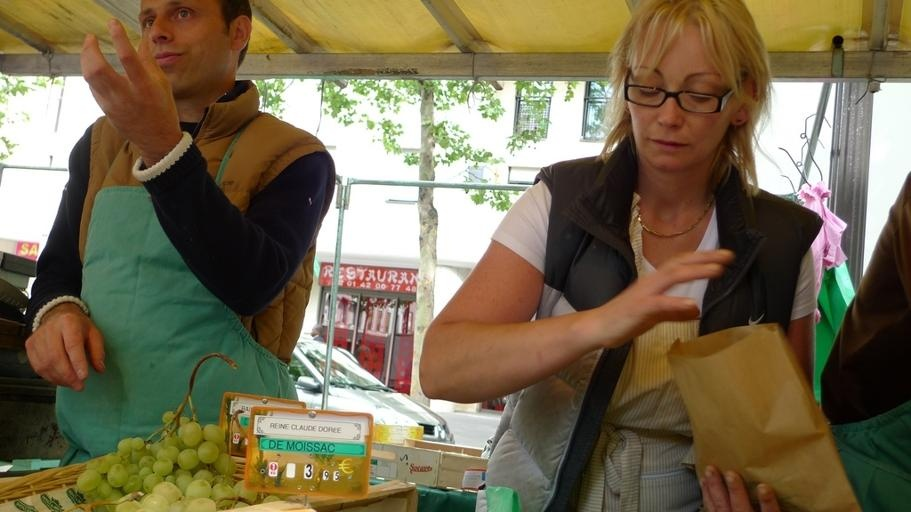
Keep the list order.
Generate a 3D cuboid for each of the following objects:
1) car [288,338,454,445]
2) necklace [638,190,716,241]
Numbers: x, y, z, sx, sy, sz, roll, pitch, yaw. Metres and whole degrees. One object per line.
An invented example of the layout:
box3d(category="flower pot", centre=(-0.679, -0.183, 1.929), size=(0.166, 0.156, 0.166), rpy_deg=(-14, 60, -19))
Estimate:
box3d(category="car", centre=(-1.223, 1.714, 7.784), size=(2.621, 0.879, 1.201), rpy_deg=(-2, -9, 34))
box3d(category="necklace", centre=(0.740, -0.134, 2.114), size=(0.255, 0.079, 0.310), rpy_deg=(-21, -26, 28))
